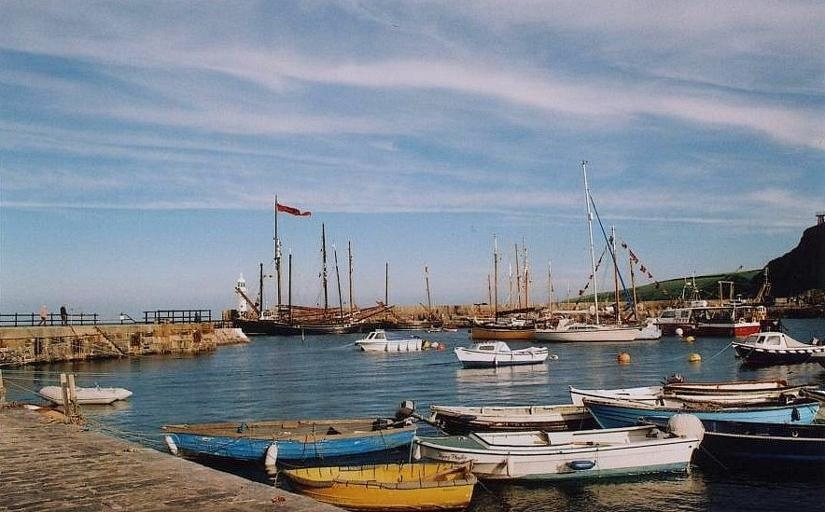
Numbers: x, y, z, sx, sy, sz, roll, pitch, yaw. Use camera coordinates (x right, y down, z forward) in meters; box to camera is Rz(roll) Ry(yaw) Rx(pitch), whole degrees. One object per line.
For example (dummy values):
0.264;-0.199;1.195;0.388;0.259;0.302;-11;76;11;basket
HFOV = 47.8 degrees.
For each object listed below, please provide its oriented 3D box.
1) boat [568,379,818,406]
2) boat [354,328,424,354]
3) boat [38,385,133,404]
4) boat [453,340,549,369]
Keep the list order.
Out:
17.465;8.304;56.919;8.886;1.266;1.883;-1;-15;0;boat
-3.012;9.326;103.187;9.273;2.911;2.755;4;-11;-17;boat
-21.699;9.210;62.393;5.455;1.366;2.480;2;-7;-43;boat
7.839;8.764;82.874;8.090;1.692;2.881;3;-12;-12;boat
